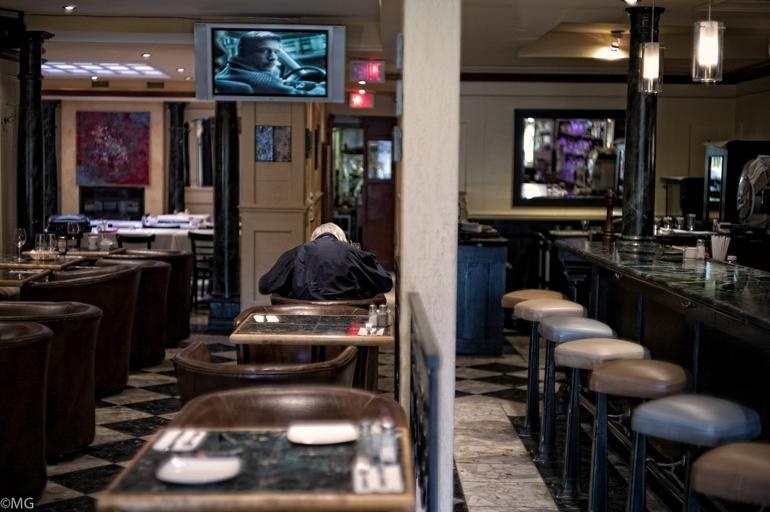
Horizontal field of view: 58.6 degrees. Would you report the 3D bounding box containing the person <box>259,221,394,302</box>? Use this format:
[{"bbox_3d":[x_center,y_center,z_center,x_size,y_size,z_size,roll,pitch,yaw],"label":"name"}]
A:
[{"bbox_3d":[-0.537,0.065,6.132,1.148,0.629,0.641,-1,4,0],"label":"person"}]

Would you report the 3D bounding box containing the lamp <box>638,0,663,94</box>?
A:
[{"bbox_3d":[2.354,-1.685,6.095,0.187,0.443,0.263,5,11,20],"label":"lamp"}]

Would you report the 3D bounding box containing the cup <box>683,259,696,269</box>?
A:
[{"bbox_3d":[2.437,0.065,5.508,0.127,0.088,0.123,0,1,0],"label":"cup"}]

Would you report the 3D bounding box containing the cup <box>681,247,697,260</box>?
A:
[{"bbox_3d":[2.544,-0.026,5.768,0.108,0.098,0.104,-1,5,0],"label":"cup"}]

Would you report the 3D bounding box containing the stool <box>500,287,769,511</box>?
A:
[{"bbox_3d":[1.822,0.788,5.226,1.187,1.177,1.903,1,4,-3],"label":"stool"}]

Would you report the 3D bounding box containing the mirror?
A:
[{"bbox_3d":[2.956,-1.684,11.181,2.079,1.434,0.098,1,1,-7],"label":"mirror"}]

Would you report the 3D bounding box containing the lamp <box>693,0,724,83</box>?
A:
[{"bbox_3d":[2.538,-1.619,5.410,0.226,0.493,0.276,5,11,22],"label":"lamp"}]

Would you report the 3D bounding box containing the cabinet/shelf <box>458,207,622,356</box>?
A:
[{"bbox_3d":[1.628,0.307,7.542,1.888,1.696,1.004,1,10,7],"label":"cabinet/shelf"}]
